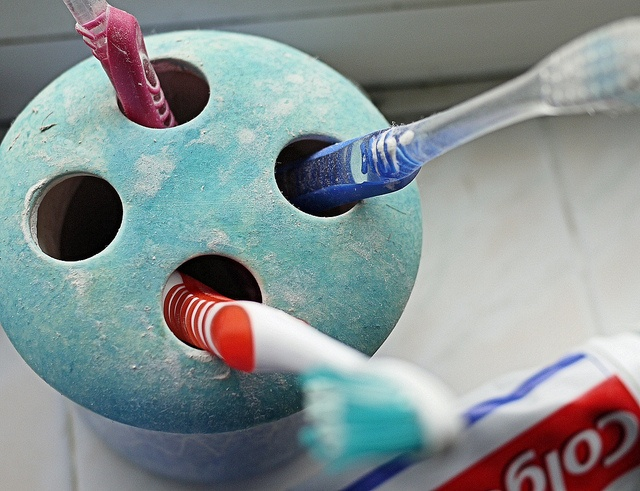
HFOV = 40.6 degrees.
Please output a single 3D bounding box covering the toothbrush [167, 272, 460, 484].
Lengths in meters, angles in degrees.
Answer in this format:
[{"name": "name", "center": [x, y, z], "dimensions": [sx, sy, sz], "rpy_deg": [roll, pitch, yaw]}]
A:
[{"name": "toothbrush", "center": [-0.016, 0.084, 0.737], "dimensions": [0.253, 0.069, 0.110], "rpy_deg": [30, 44, 27]}]
